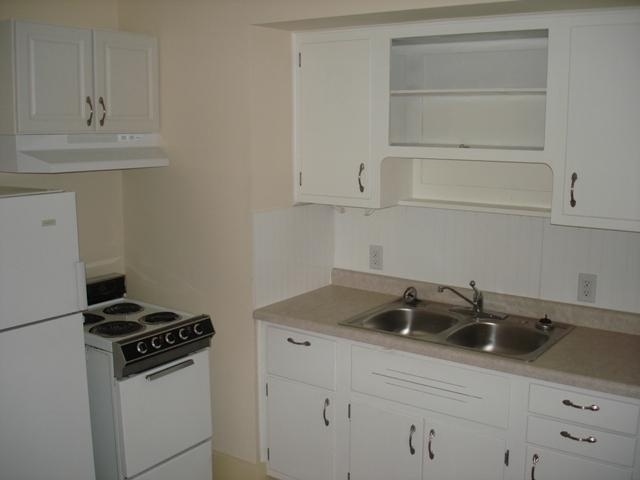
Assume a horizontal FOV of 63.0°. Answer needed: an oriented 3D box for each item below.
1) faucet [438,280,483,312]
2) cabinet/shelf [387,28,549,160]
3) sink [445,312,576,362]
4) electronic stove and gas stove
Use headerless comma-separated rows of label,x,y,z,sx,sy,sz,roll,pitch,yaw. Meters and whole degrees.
faucet,0.828,0.309,3.058,0.266,0.192,0.259,3,11,12
cabinet/shelf,0.767,-0.767,2.748,0.794,0.568,0.310,5,11,23
sink,1.028,0.527,2.814,0.357,0.133,0.314,9,16,42
electronic stove and gas stove,-1.018,0.472,2.881,0.465,0.109,0.347,11,15,38
